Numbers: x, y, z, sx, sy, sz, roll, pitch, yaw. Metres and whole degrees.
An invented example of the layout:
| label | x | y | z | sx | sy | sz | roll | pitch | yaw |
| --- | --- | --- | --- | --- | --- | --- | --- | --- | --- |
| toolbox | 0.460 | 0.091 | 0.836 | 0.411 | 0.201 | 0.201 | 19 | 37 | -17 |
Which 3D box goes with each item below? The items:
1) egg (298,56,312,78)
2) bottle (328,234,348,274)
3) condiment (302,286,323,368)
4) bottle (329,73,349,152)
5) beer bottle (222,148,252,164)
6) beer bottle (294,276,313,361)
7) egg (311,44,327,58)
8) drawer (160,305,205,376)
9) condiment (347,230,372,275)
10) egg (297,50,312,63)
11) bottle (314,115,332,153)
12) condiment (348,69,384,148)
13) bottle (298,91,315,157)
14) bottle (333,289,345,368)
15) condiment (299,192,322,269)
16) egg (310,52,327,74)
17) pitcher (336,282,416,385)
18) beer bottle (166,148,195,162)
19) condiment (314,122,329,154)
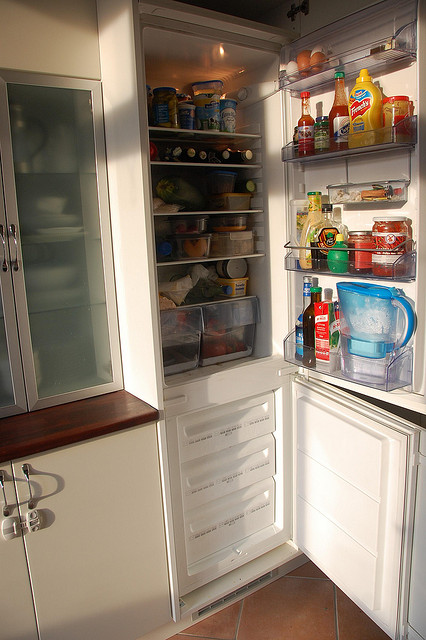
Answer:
| label | x | y | z | sx | sy | sz | roll | pitch | yaw |
| --- | --- | --- | --- | --- | --- | --- | --- | --- | --- |
| egg | 0.259 | -0.736 | 1.404 | 0.033 | 0.057 | 0.040 | 0 | 4 | -28 |
| bottle | 0.347 | -0.186 | 1.370 | 0.054 | 0.109 | 0.098 | -1 | 9 | 14 |
| condiment | 0.297 | 0.022 | 1.518 | 0.058 | 0.235 | 0.065 | -11 | 19 | -38 |
| bottle | 0.342 | -0.574 | 1.344 | 0.052 | 0.197 | 0.135 | -1 | 9 | 14 |
| beer bottle | 0.082 | -0.560 | 1.670 | 0.099 | 0.040 | 0.041 | 2 | 52 | 26 |
| beer bottle | 0.271 | -0.007 | 1.571 | 0.055 | 0.256 | 0.063 | -12 | 19 | -39 |
| egg | 0.299 | -0.763 | 1.387 | 0.038 | 0.042 | 0.038 | -10 | 32 | -17 |
| drawer | -0.098 | 0.074 | 1.666 | 0.179 | 0.222 | 0.150 | -8 | -6 | 11 |
| condiment | 0.401 | -0.189 | 1.355 | 0.065 | 0.119 | 0.091 | -1 | 9 | 15 |
| egg | 0.260 | -0.759 | 1.415 | 0.032 | 0.040 | 0.033 | 3 | 39 | -7 |
| bottle | 0.311 | -0.529 | 1.391 | 0.045 | 0.116 | 0.122 | -2 | 9 | 9 |
| condiment | 0.391 | -0.549 | 1.269 | 0.086 | 0.197 | 0.092 | -1 | 9 | 15 |
| bottle | 0.270 | -0.577 | 1.437 | 0.050 | 0.199 | 0.122 | -2 | 9 | 12 |
| bottle | 0.367 | 0.043 | 1.437 | 0.030 | 0.181 | 0.143 | -1 | 9 | 15 |
| condiment | 0.281 | -0.278 | 1.530 | 0.073 | 0.236 | 0.067 | -3 | 17 | -16 |
| egg | 0.296 | -0.726 | 1.363 | 0.033 | 0.055 | 0.065 | -6 | 9 | -17 |
| pitcher | 0.427 | 0.029 | 1.323 | 0.141 | 0.252 | 0.303 | -5 | 9 | -12 |
| beer bottle | -0.097 | -0.515 | 1.528 | 0.066 | 0.017 | 0.046 | -17 | 12 | -40 |
| condiment | 0.308 | -0.524 | 1.403 | 0.041 | 0.103 | 0.131 | -2 | 9 | 12 |
